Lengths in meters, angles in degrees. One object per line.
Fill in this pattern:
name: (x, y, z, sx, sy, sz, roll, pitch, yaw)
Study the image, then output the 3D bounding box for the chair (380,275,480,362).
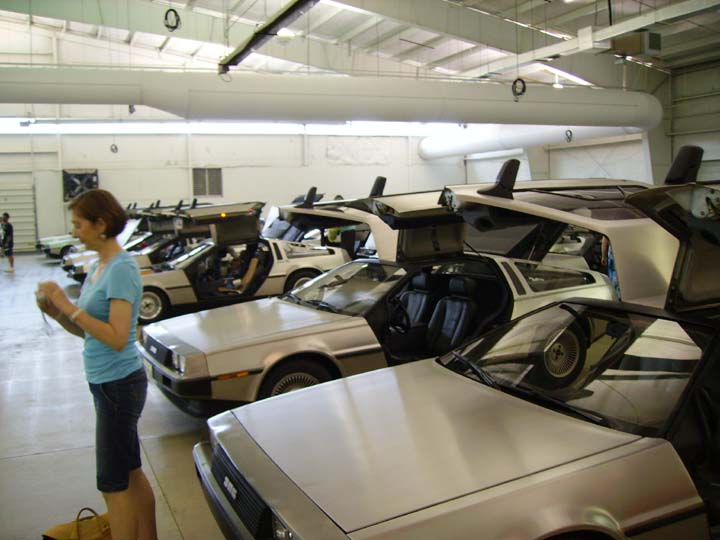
chair: (0.698, 0.539, 4.745, 0.865, 0.831, 0.686, -2, 5, -10)

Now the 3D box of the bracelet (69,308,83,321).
bracelet: (-1.332, 0.209, 2.277, 0.059, 0.038, 0.056, 0, -1, -10)
